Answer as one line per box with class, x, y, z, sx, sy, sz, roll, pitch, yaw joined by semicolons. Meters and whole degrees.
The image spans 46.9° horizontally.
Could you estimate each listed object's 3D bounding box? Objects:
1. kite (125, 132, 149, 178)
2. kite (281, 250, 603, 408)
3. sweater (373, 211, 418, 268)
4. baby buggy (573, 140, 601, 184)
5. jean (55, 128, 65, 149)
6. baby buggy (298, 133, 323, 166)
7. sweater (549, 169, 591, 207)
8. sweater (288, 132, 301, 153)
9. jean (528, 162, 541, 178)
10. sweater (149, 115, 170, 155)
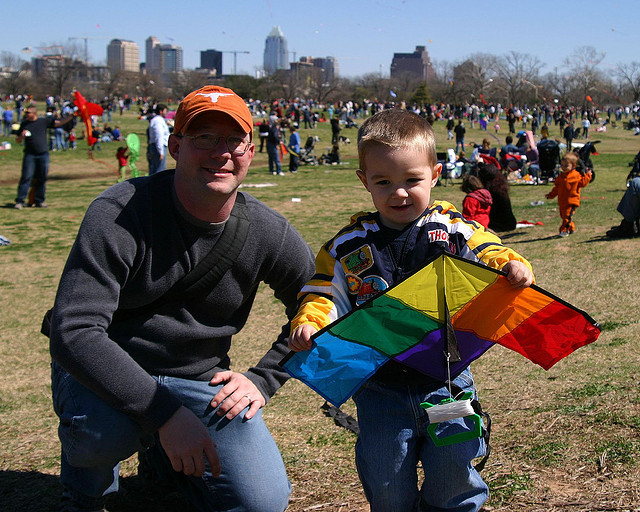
kite;-4.052;-2.236;16.232;0.480;0.826;0.472;2;1;32
kite;0.642;0.442;4.105;1.145;0.600;0.209;-9;30;5
sweater;0.406;-0.079;3.874;0.188;0.266;0.061;4;9;6
baby buggy;6.083;-2.193;17.221;0.727;1.027;0.634;5;-27;24
jean;-9.281;-4.227;26.477;0.307;0.707;0.615;-11;13;-19
baby buggy;-0.524;-3.635;25.424;1.207;1.377;0.971;0;9;-5
sweater;3.798;-1.022;11.272;0.543;0.578;0.912;-3;13;18
sweater;-0.740;-3.384;22.162;0.310;0.587;0.361;-11;13;-18
jean;5.565;-2.233;19.217;0.274;0.339;0.456;-3;13;18
sweater;-3.131;-2.352;14.411;0.393;0.721;0.673;-9;12;-12
